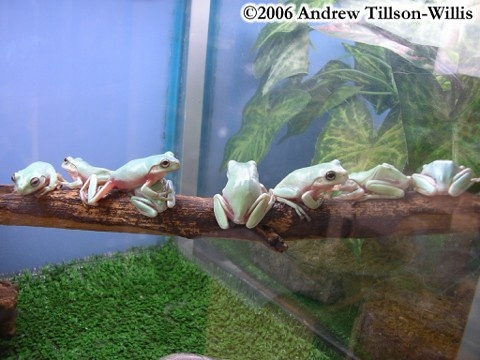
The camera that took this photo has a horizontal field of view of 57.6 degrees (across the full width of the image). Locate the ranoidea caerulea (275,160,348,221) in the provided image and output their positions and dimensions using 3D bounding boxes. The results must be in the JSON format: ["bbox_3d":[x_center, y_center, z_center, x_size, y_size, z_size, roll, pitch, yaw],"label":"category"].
[{"bbox_3d":[0.484,0.037,2.892,0.496,0.320,0.447,4,25,39],"label":"ranoidea caerulea"}]

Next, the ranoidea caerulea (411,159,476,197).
[{"bbox_3d":[1.303,-0.006,2.771,0.391,0.223,0.109,5,14,27],"label":"ranoidea caerulea"}]

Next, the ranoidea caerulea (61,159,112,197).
[{"bbox_3d":[-1.019,-0.062,2.945,0.391,0.158,0.282,7,20,-2],"label":"ranoidea caerulea"}]

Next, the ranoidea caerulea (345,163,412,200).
[{"bbox_3d":[0.905,0.014,2.829,0.287,0.117,0.225,4,48,21],"label":"ranoidea caerulea"}]

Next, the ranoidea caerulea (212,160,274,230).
[{"bbox_3d":[0.029,0.076,2.862,0.415,0.223,0.582,-1,28,2],"label":"ranoidea caerulea"}]

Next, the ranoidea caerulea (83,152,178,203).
[{"bbox_3d":[-0.723,-0.046,2.923,0.652,0.277,0.594,2,18,-6],"label":"ranoidea caerulea"}]
